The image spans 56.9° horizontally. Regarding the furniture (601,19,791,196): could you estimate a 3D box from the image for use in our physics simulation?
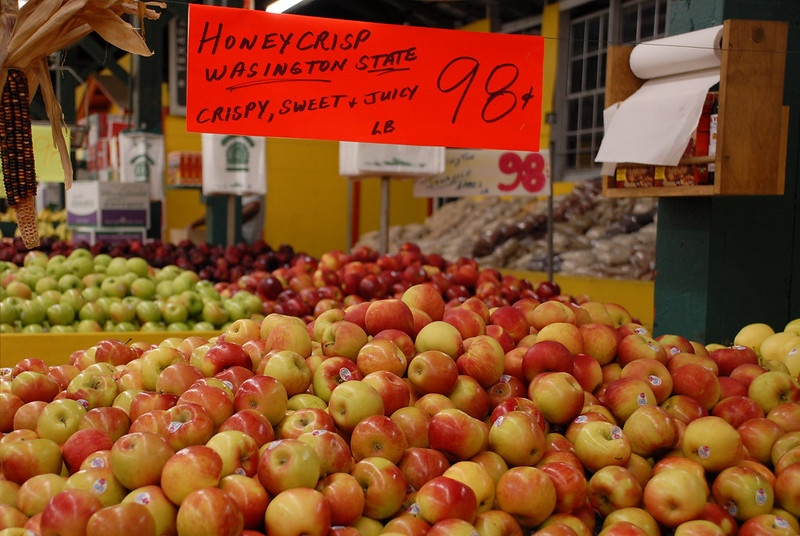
[{"bbox_3d":[1.601,-0.855,4.086,0.495,0.925,0.912,-2,5,-24],"label":"furniture"}]
